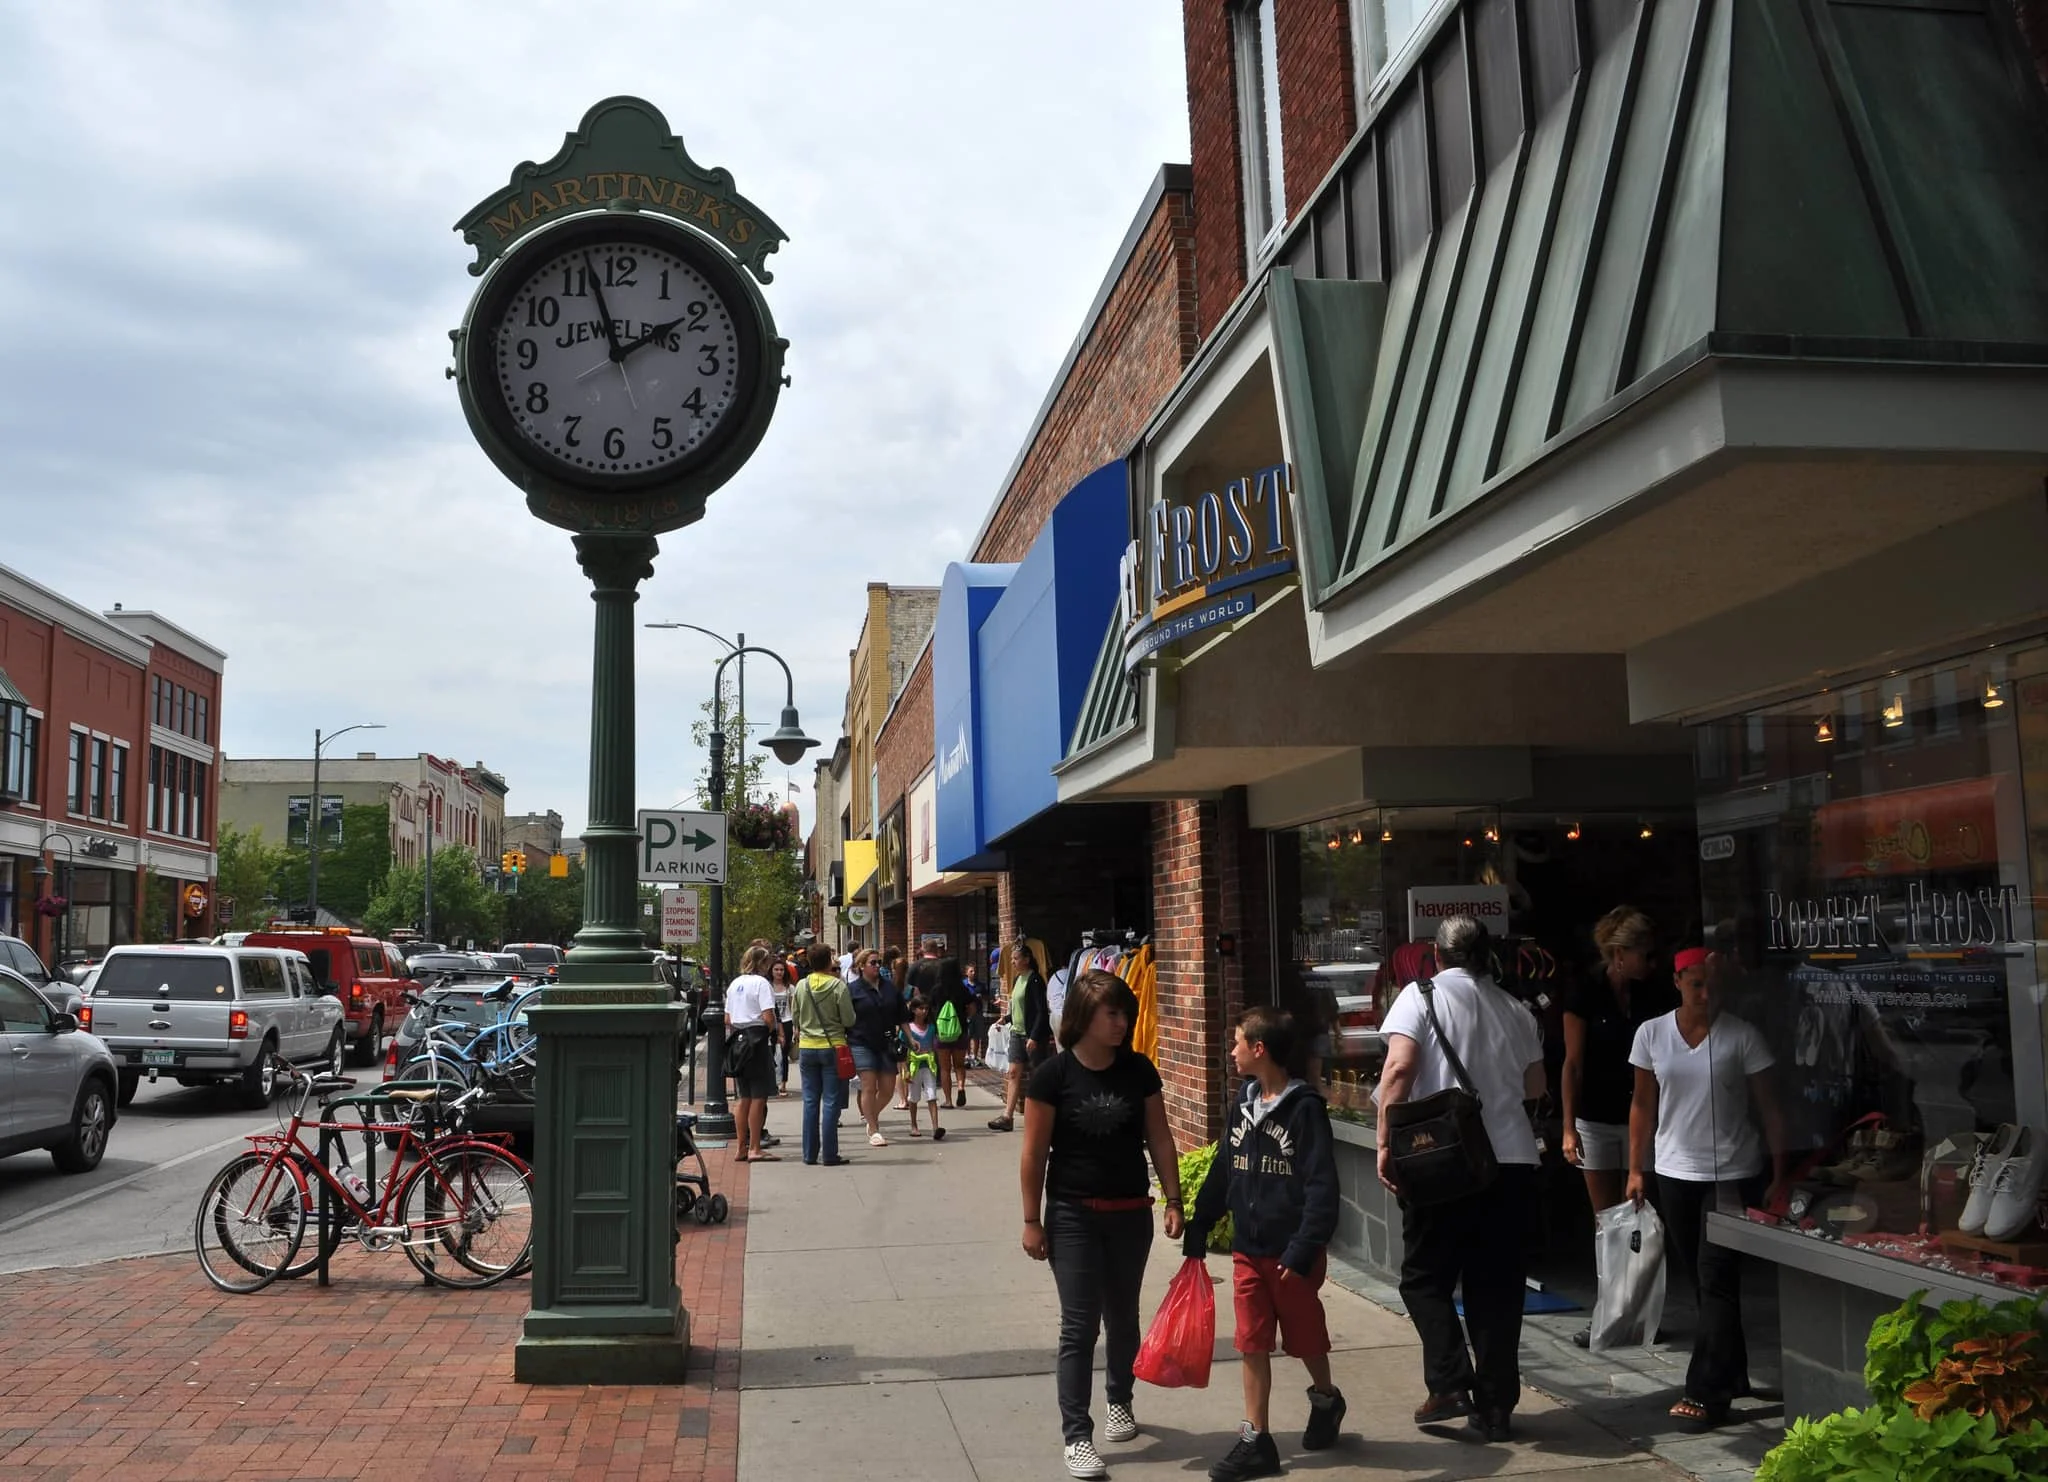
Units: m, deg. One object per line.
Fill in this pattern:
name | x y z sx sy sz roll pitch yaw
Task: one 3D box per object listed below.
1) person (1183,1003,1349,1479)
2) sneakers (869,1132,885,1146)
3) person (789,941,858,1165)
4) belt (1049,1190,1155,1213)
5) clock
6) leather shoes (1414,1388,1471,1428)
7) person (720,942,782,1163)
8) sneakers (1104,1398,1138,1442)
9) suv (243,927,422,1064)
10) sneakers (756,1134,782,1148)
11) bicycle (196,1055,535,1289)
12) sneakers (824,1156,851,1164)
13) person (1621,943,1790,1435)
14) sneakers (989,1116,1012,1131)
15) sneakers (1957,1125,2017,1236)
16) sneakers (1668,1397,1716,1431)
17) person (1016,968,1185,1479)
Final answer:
person | 1.107 2.260 8.145 0.659 2.046 0.624 -2 -9 11
sneakers | -1.428 3.983 17.722 0.128 0.132 0.089 -2 -49 -8
person | -1.858 2.926 16.744 0.575 2.024 1.001 1 -9 -6
belt | 0.382 2.099 8.068 0.425 0.065 0.107 3 -10 -17
clock | -2.271 -2.097 9.927 1.709 0.267 2.124 -3 -44 -17
leather shoes | 1.967 3.127 8.292 0.308 0.150 0.122 2 -12 -11
person | -2.561 2.966 16.917 0.459 2.007 1.593 1 -9 -9
sneakers | 0.459 3.187 8.321 0.109 0.125 0.279 -1 -20 6
suv | -11.857 4.323 30.901 2.117 2.158 4.137 -1 -2 -4
sneakers | -2.549 4.074 18.067 0.120 0.086 0.221 -3 -11 16
bicycle | -4.034 2.756 11.081 2.080 1.309 0.769 -1 -9 4
sneakers | -1.689 3.862 16.455 0.198 0.081 0.496 -1 -10 4
person | 3.264 2.109 8.526 0.573 2.191 0.828 -1 -8 5
sneakers | -0.220 4.086 18.951 0.224 0.175 0.111 12 -19 -24
sneakers | 3.814 1.727 7.097 0.150 0.442 0.138 12 7 -9
sneakers | 3.124 3.107 8.222 0.237 0.139 0.129 -4 -10 21
person | 0.368 2.170 8.169 0.682 2.209 0.625 -1 -8 4
